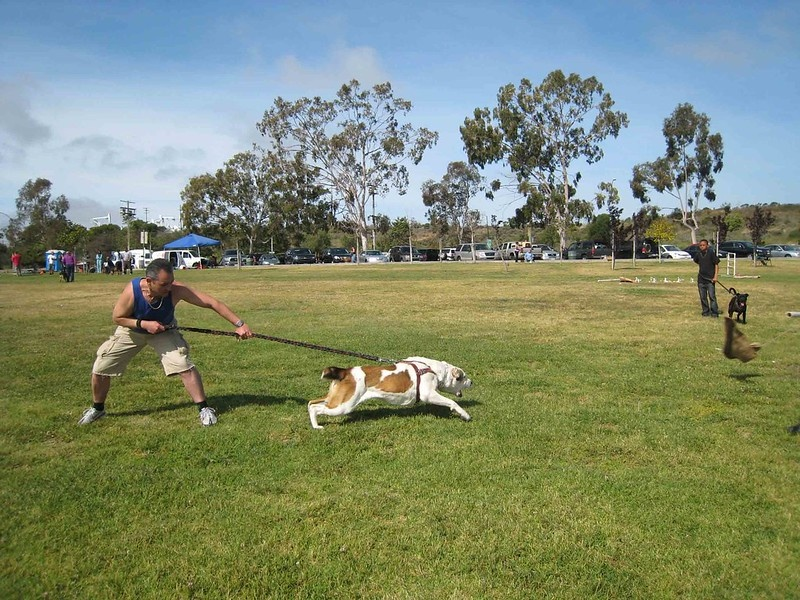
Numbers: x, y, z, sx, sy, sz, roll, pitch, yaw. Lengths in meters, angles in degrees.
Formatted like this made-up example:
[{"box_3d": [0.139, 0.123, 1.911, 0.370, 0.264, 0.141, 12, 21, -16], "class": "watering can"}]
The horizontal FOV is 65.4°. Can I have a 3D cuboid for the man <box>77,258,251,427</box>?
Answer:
[{"box_3d": [-2.744, 0.471, 7.400, 1.986, 2.035, 0.791, 3, 12, -1], "class": "man"}]

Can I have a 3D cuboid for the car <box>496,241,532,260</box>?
[{"box_3d": [10.739, -4.733, 59.450, 1.580, 1.327, 3.253, -4, 10, -30], "class": "car"}]

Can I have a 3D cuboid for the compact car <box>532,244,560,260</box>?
[{"box_3d": [13.386, -4.494, 57.639, 1.316, 1.093, 2.750, -7, 7, -42], "class": "compact car"}]

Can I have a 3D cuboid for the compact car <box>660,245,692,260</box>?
[{"box_3d": [22.316, -4.161, 51.015, 1.485, 1.193, 3.347, -2, 2, -11], "class": "compact car"}]

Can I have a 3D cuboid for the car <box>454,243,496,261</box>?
[{"box_3d": [7.622, -4.903, 63.465, 1.978, 1.485, 3.324, -4, 3, -37], "class": "car"}]

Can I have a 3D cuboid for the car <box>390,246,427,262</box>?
[{"box_3d": [0.412, -4.750, 63.766, 3.000, 1.477, 1.794, -2, 1, 37], "class": "car"}]

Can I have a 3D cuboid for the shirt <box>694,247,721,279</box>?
[{"box_3d": [7.356, -0.894, 14.968, 0.488, 0.767, 0.499, 7, 14, 27], "class": "shirt"}]

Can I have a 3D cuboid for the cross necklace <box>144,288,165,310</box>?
[{"box_3d": [-2.802, -0.009, 7.080, 0.144, 0.201, 0.069, 11, 4, -26], "class": "cross necklace"}]

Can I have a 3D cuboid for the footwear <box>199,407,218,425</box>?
[{"box_3d": [-2.240, 1.367, 7.283, 0.126, 0.117, 0.258, -5, 5, -34], "class": "footwear"}]

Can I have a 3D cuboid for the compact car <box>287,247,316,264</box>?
[{"box_3d": [-9.946, -4.381, 61.377, 1.431, 1.113, 2.408, -3, 1, -44], "class": "compact car"}]

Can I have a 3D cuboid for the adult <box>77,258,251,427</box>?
[{"box_3d": [-2.761, 0.474, 7.402, 1.983, 2.038, 0.814, 2, 13, -2], "class": "adult"}]

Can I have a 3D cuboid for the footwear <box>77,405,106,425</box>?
[{"box_3d": [-3.622, 1.356, 7.282, 0.112, 0.137, 0.308, 5, 8, 29], "class": "footwear"}]

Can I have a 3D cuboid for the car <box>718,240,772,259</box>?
[{"box_3d": [26.214, -3.794, 47.728, 3.053, 1.325, 7.441, 7, 15, 25], "class": "car"}]

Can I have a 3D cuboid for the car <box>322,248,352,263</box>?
[{"box_3d": [-6.258, -4.419, 61.519, 1.474, 1.058, 2.705, -1, -1, -26], "class": "car"}]

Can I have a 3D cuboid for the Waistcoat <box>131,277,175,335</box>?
[{"box_3d": [-2.831, 0.054, 7.061, 0.555, 0.749, 0.388, -4, 10, -43], "class": "Waistcoat"}]
